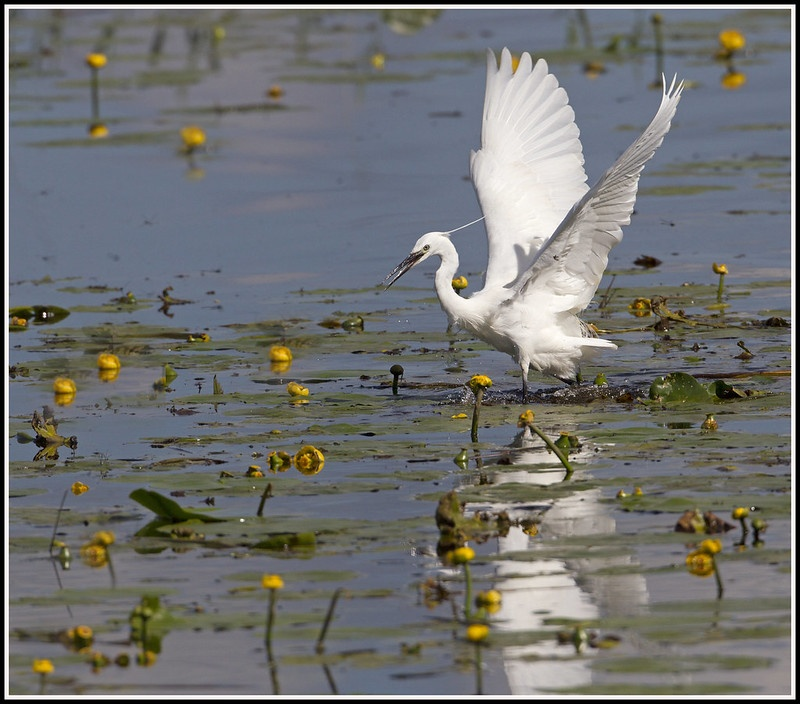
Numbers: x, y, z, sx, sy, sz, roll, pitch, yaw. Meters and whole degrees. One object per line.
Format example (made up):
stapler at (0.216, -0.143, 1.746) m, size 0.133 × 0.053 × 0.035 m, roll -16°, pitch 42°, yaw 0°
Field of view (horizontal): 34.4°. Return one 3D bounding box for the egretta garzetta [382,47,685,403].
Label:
egretta garzetta at (1.080, -1.208, 10.252) m, size 1.290 × 3.241 × 2.380 m, roll 8°, pitch -26°, yaw -12°
